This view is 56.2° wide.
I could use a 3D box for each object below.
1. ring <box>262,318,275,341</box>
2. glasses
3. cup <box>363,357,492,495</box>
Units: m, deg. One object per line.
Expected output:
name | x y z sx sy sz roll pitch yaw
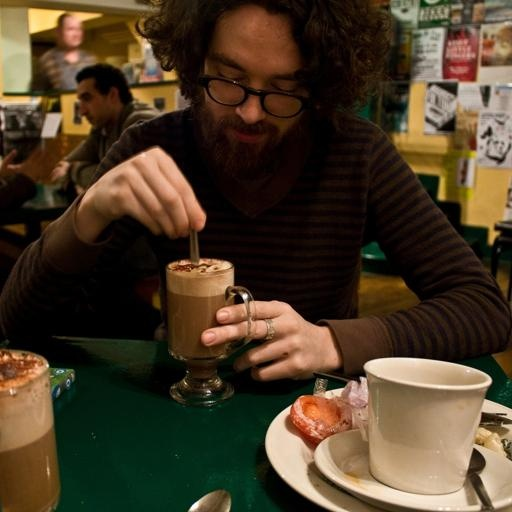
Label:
ring | 0.027 0.143 0.923 0.032 0.032 0.028 0 4 -9
glasses | -0.001 -0.385 1.159 0.264 0.115 0.094 -6 14 -5
cup | 0.217 0.185 0.625 0.157 0.123 0.147 2 4 0
